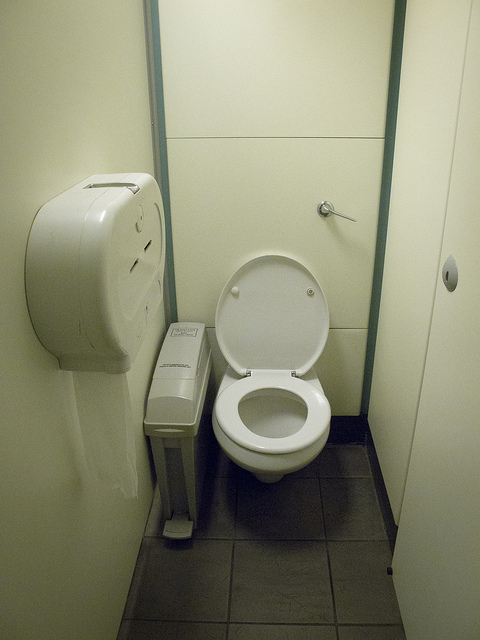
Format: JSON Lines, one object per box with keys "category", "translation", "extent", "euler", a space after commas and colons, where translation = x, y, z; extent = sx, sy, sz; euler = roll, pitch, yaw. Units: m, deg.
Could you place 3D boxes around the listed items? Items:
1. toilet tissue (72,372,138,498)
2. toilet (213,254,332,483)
{"category": "toilet tissue", "translation": [-0.264, 0.228, 1.046], "extent": [0.116, 0.331, 0.061], "euler": [-24, 34, -37]}
{"category": "toilet", "translation": [0.110, 0.183, 1.669], "extent": [0.398, 0.528, 0.563], "euler": [-1, 32, 0]}
